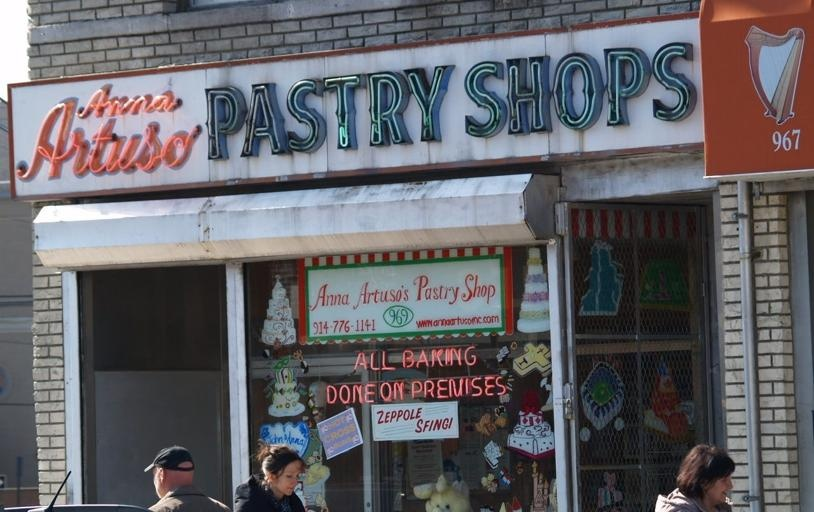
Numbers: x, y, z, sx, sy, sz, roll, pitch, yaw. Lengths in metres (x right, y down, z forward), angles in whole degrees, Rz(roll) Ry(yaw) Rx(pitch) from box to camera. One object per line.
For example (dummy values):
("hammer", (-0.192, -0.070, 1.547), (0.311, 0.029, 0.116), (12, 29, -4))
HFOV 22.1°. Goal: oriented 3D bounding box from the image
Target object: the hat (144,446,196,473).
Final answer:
("hat", (-2.379, 2.054, 20.953), (0.387, 0.191, 0.289), (-1, -9, 11))
